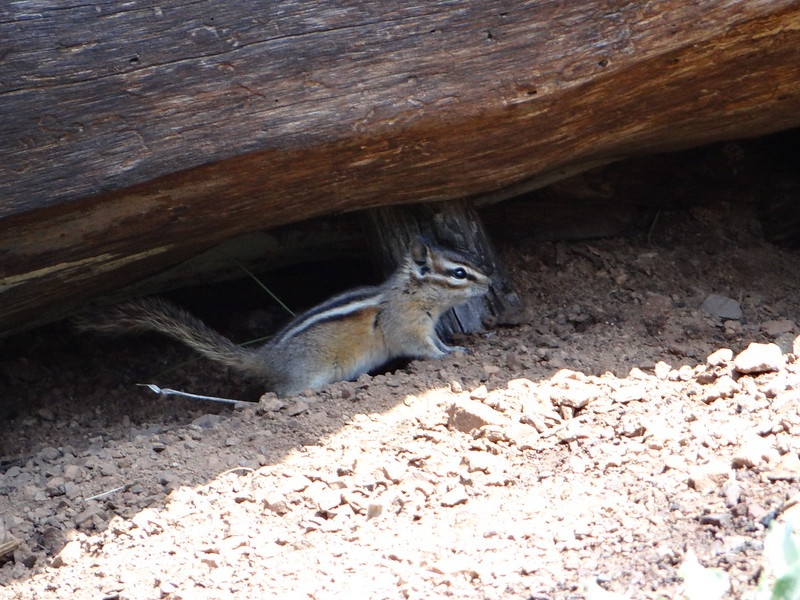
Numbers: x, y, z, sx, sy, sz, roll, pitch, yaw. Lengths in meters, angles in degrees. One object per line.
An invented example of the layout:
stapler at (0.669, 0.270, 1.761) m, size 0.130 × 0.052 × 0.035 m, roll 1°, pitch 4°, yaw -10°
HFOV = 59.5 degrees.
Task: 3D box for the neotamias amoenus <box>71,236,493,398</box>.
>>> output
neotamias amoenus at (-0.994, 0.348, 6.231) m, size 3.726 × 0.945 × 0.673 m, roll -7°, pitch -2°, yaw -6°
